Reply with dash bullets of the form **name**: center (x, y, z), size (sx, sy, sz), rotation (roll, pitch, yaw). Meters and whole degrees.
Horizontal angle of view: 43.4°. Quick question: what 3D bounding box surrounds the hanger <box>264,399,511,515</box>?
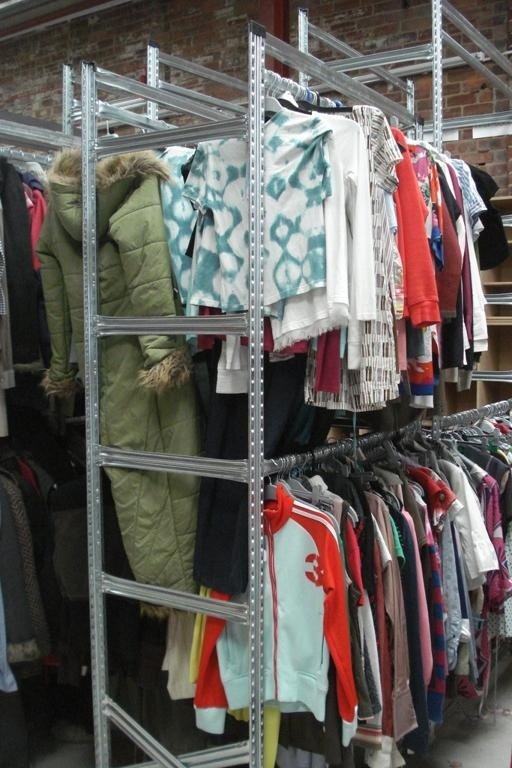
- **hanger**: center (0.429, 0.243, 2.107), size (0.988, 0.111, 0.137), rotation (-20, 39, -32)
